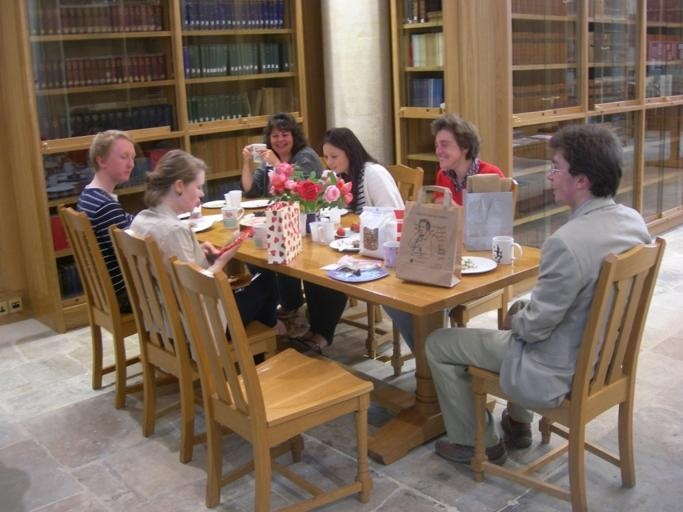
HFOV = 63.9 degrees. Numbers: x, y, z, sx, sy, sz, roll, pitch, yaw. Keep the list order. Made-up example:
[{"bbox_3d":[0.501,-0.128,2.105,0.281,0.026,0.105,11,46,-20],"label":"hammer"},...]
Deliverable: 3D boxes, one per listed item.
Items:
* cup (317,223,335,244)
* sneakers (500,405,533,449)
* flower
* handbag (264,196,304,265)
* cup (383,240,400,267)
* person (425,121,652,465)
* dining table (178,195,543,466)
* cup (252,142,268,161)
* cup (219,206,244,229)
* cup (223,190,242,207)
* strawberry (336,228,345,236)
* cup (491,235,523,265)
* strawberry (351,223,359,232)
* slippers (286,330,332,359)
[{"bbox_3d":[-0.078,-0.117,2.865,0.069,0.103,0.115,10,14,43],"label":"cup"},{"bbox_3d":[0.824,0.813,2.645,0.090,0.107,0.250,-9,16,-1],"label":"sneakers"},{"bbox_3d":[-0.161,-0.348,2.853,0.314,0.200,0.321,17,11,33],"label":"flower"},{"bbox_3d":[-0.281,-0.118,2.658,0.116,0.301,0.322,1,12,18],"label":"handbag"},{"bbox_3d":[0.222,-0.013,2.454,0.095,0.099,0.097,1,13,0],"label":"cup"},{"bbox_3d":[0.779,0.231,2.235,0.530,1.462,0.719,-19,20,-39],"label":"person"},{"bbox_3d":[0.213,0.124,2.518,0.950,0.884,1.782,-20,25,-39],"label":"dining table"},{"bbox_3d":[-0.557,-0.719,3.742,0.099,0.100,0.105,0,1,0],"label":"cup"},{"bbox_3d":[-0.641,-0.227,3.326,0.163,0.150,0.106,-6,10,-39],"label":"cup"},{"bbox_3d":[-0.681,-0.375,3.510,0.089,0.126,0.134,0,6,14],"label":"cup"},{"bbox_3d":[0.000,-0.130,2.963,0.041,0.041,0.039,-8,20,12],"label":"strawberry"},{"bbox_3d":[0.745,-0.032,2.506,0.102,0.120,0.157,-12,18,-32],"label":"cup"},{"bbox_3d":[0.074,-0.152,2.971,0.034,0.041,0.044,-8,16,-30],"label":"strawberry"},{"bbox_3d":[-0.225,0.570,3.487,0.330,0.121,0.120,19,21,41],"label":"slippers"}]
